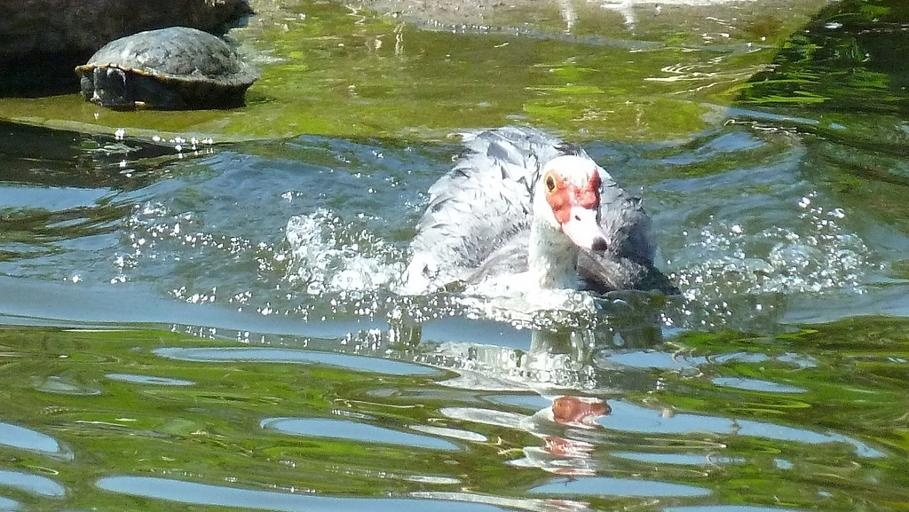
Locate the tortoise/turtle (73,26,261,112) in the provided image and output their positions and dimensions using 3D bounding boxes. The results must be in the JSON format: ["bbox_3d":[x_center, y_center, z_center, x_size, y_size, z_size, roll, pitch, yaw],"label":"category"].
[{"bbox_3d":[-3.651,-2.425,13.468,2.044,0.454,1.637,-9,16,-36],"label":"tortoise/turtle"}]
